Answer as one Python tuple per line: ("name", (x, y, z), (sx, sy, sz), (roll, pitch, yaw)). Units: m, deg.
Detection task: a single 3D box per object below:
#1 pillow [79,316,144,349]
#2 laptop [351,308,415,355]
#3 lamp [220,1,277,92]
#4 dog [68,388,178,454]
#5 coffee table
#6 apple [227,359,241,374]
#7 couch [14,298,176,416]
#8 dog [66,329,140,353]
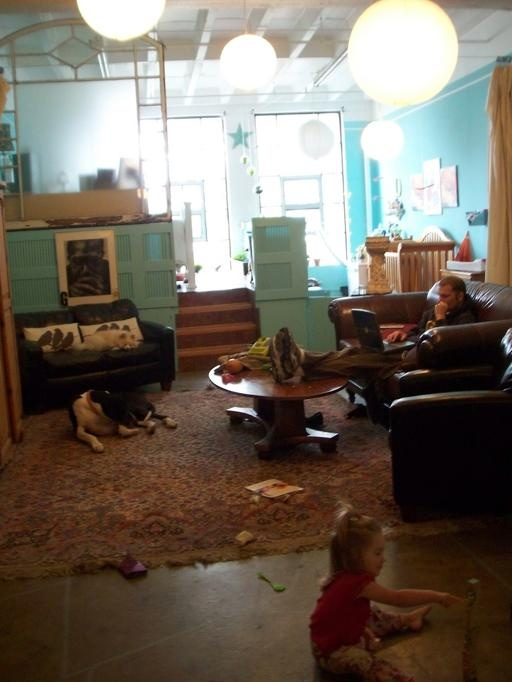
("pillow", (-1.367, -0.083, 5.297), (0.474, 0.189, 0.294), (-5, 19, -19))
("laptop", (0.934, -0.126, 3.984), (0.283, 0.339, 0.337), (-15, 12, -14))
("lamp", (-0.065, -2.137, 4.161), (0.401, 0.425, 0.227), (-4, 8, -3))
("dog", (-1.061, 0.510, 4.025), (0.946, 0.448, 0.292), (-5, -27, 13))
("coffee table", (0.148, 0.453, 3.618), (0.792, 0.403, 0.928), (-3, 11, -22))
("apple", (-0.146, 0.167, 3.779), (0.076, 0.068, 0.100), (16, 14, 22))
("couch", (-1.528, 0.099, 5.178), (1.379, 0.749, 0.767), (-12, 19, -40))
("dog", (-1.412, -0.008, 5.215), (0.683, 0.203, 0.206), (0, 14, -19))
